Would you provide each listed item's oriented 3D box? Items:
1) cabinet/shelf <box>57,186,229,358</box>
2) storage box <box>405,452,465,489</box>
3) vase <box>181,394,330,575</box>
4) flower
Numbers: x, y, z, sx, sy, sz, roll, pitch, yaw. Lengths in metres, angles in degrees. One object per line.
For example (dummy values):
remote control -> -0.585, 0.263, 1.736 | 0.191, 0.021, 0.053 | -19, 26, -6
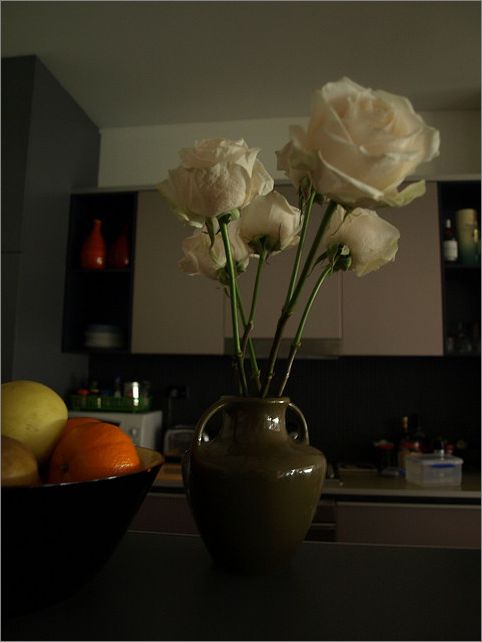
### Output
cabinet/shelf -> -0.432, -0.177, 2.127 | 0.801, 0.806, 0.267 | 2, -6, 1
storage box -> 0.778, 0.606, 2.076 | 0.215, 0.118, 0.193 | 1, -8, 20
vase -> 0.015, 0.153, 0.506 | 0.136, 0.166, 0.137 | 0, -1, -14
flower -> 0.041, -0.036, 0.453 | 0.225, 0.314, 0.143 | 10, -1, 33
